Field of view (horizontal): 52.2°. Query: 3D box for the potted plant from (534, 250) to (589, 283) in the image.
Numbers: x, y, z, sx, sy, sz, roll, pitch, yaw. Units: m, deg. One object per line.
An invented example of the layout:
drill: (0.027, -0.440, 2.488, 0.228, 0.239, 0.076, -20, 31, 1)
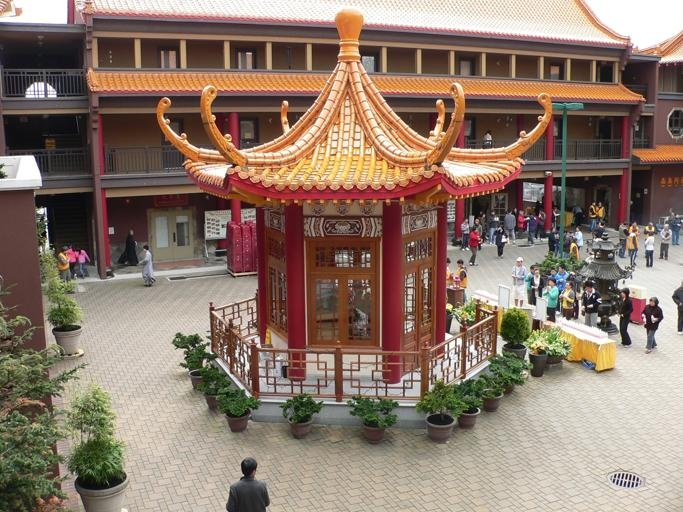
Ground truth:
potted plant: (8.959, 0.714, 28.197, 1.495, 0.972, 1.557, 1, 9, -3)

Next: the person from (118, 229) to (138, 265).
person: (-10.432, -0.354, 34.203, 0.990, 1.652, 0.610, 3, 8, 41)
